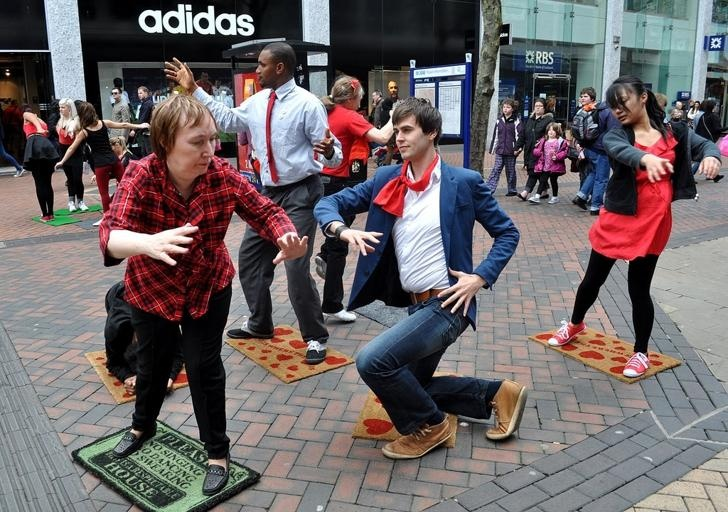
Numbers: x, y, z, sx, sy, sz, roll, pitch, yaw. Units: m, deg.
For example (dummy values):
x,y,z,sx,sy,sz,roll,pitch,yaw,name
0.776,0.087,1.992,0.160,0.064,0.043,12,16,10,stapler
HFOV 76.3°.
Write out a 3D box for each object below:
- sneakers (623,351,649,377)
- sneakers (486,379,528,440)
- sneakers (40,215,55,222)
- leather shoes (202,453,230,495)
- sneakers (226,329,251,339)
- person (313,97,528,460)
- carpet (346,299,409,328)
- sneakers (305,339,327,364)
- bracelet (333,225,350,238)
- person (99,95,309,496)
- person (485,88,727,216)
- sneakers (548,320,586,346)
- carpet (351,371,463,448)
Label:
x,y,z,sx,sy,sz,roll,pitch,yaw,name
2.319,0.933,3.947,0.133,0.108,0.307,-1,0,38,sneakers
0.963,1.042,3.204,0.263,0.492,0.180,5,21,-3,sneakers
-6.927,-0.827,10.119,0.283,0.106,0.129,8,13,37,sneakers
-0.888,1.298,2.812,0.143,0.096,0.348,8,16,-3,leather shoes
-1.266,0.797,4.775,0.260,0.088,0.093,7,-5,1,sneakers
0.380,0.148,3.136,1.235,2.349,0.927,-6,18,-13,person
0.205,0.672,5.354,0.368,0.017,0.406,13,21,35,carpet
-0.440,0.886,4.324,0.111,0.117,0.301,0,9,7,sneakers
-0.137,-0.164,2.909,0.083,0.080,0.055,-39,75,-20,bracelet
-0.962,0.275,2.661,1.131,2.303,0.855,-12,20,-27,person
2.219,-0.849,3.852,0.978,1.148,1.050,-7,7,-18,person
2.021,0.773,4.578,0.301,0.112,0.105,-32,30,4,sneakers
0.314,1.133,3.338,0.758,0.704,0.033,2,36,6,carpet
